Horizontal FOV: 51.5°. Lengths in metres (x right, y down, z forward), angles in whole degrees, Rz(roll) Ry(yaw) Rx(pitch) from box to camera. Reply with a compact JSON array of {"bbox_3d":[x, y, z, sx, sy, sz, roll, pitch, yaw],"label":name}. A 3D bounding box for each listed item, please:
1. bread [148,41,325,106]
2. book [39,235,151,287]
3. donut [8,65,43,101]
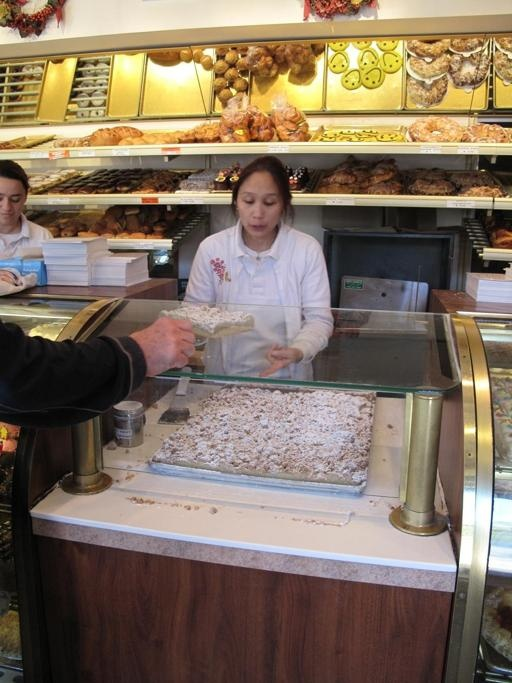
[{"bbox_3d":[-0.160,-1.978,3.841,1.249,0.460,0.303,2,6,17],"label":"bread"},{"bbox_3d":[-0.788,-0.372,2.521,0.341,0.141,0.329,2,12,14],"label":"book"},{"bbox_3d":[-1.886,-2.177,4.429,0.340,0.298,0.088,1,-7,18],"label":"donut"}]
